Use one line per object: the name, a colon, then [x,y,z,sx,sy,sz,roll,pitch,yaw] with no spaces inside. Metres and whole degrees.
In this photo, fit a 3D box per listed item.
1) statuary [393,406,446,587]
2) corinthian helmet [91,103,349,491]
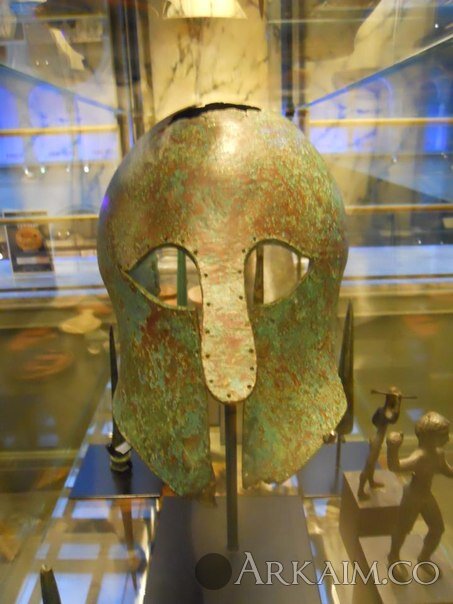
statuary: [0.368,0.368,1.042,0.125,0.329,0.119,5,16,20]
corinthian helmet: [-0.032,-0.053,0.975,0.352,0.603,0.439,-7,25,-16]
